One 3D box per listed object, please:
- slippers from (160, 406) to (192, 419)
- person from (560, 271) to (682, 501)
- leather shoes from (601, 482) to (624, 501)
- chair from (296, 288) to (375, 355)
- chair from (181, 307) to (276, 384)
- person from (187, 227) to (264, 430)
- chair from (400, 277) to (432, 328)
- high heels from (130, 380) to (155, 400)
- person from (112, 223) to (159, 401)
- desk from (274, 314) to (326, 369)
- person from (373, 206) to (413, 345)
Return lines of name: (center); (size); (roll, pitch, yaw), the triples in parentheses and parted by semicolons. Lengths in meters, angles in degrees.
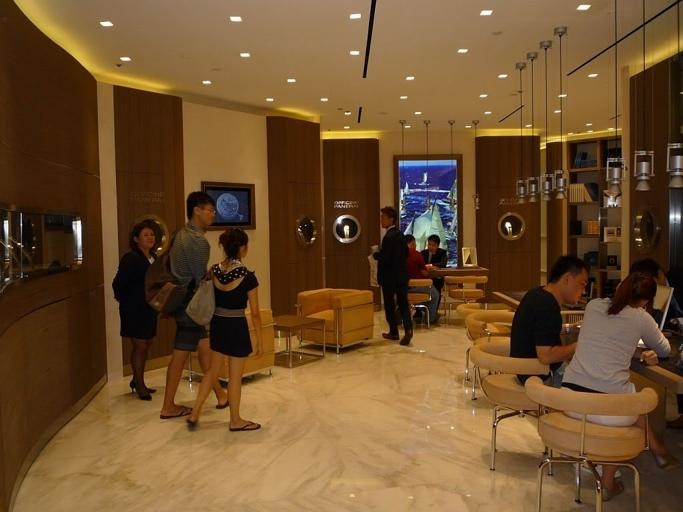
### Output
slippers: (-1.867, 1.742, 5.944); (0.286, 0.078, 0.132); (-2, 5, -38)
person: (2.215, 1.040, 4.193); (0.914, 1.750, 0.711); (-1, 7, -12)
leather shoes: (2.219, 1.925, 4.334); (0.234, 0.101, 0.084); (-6, 1, -41)
chair: (-0.110, 1.035, 8.819); (1.113, 0.929, 1.125); (0, 1, 25)
chair: (-1.383, 1.319, 7.349); (0.892, 0.972, 0.857); (-11, -9, -27)
person: (-1.174, 0.781, 5.507); (0.758, 2.124, 0.380); (2, 6, 32)
chair: (1.449, 0.852, 9.888); (0.535, 0.770, 0.502); (-3, 6, 4)
high heels: (-2.511, 1.697, 6.670); (0.300, 0.141, 0.199); (9, 10, 33)
person: (-2.531, 0.696, 6.519); (0.482, 2.176, 0.364); (-3, 5, -23)
desk: (-0.693, 1.284, 8.005); (0.707, 0.577, 0.659); (-6, 9, -42)
person: (0.883, 0.331, 9.142); (0.832, 2.297, 0.688); (2, 9, 24)
